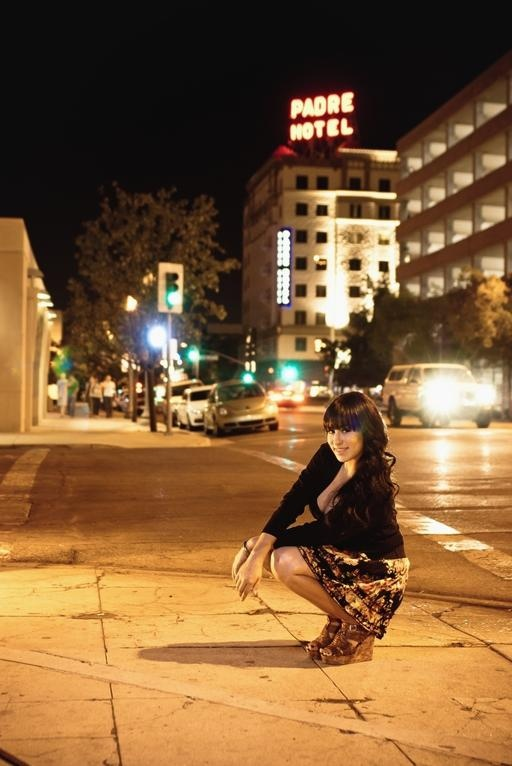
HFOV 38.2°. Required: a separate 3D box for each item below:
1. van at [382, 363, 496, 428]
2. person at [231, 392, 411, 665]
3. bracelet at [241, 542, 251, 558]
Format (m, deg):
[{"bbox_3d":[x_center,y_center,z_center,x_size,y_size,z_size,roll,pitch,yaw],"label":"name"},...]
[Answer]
[{"bbox_3d":[6.628,0.466,28.164,2.191,2.454,4.253,3,-4,-32],"label":"van"},{"bbox_3d":[0.342,0.682,3.589,0.761,1.287,0.382,0,-3,14],"label":"person"},{"bbox_3d":[-0.045,0.831,3.674,0.024,0.066,0.046,2,-8,25],"label":"bracelet"}]
